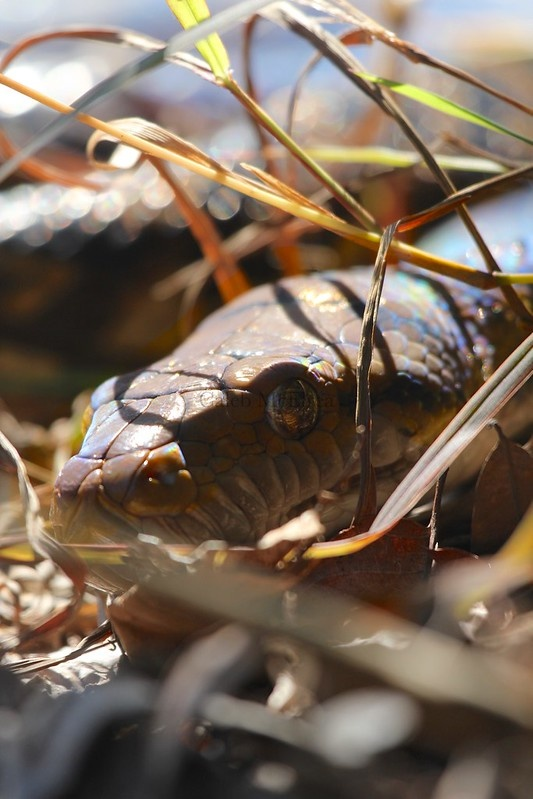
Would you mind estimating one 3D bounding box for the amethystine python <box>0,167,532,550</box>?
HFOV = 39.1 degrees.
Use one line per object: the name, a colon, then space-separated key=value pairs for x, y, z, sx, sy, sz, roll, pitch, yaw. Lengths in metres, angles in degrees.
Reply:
amethystine python: x=0.048 y=-0.058 z=0.624 sx=0.145 sy=0.143 sz=0.518 roll=-8 pitch=20 yaw=43
